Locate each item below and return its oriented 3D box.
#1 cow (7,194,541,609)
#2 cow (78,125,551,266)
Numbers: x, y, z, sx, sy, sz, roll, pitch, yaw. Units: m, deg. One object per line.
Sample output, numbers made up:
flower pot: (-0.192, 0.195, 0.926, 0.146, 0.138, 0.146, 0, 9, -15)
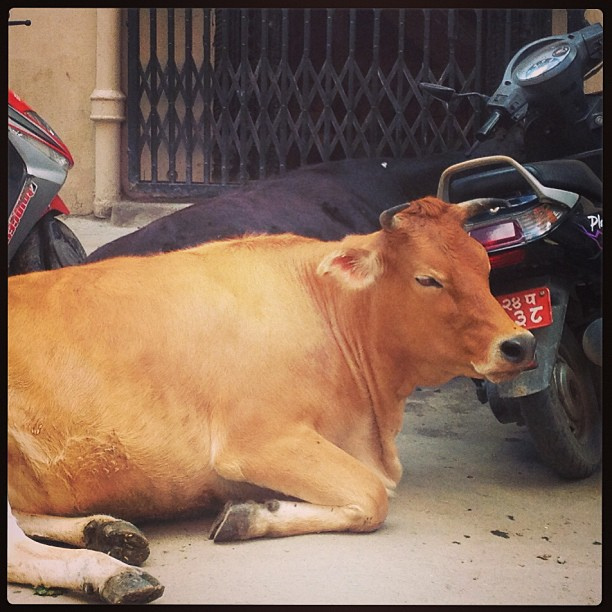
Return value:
cow: (-0.237, 0.286, 3.861, 1.776, 1.162, 0.673, -9, 9, -17)
cow: (0.013, -0.359, 4.972, 1.975, 0.948, 0.789, -4, 23, -17)
